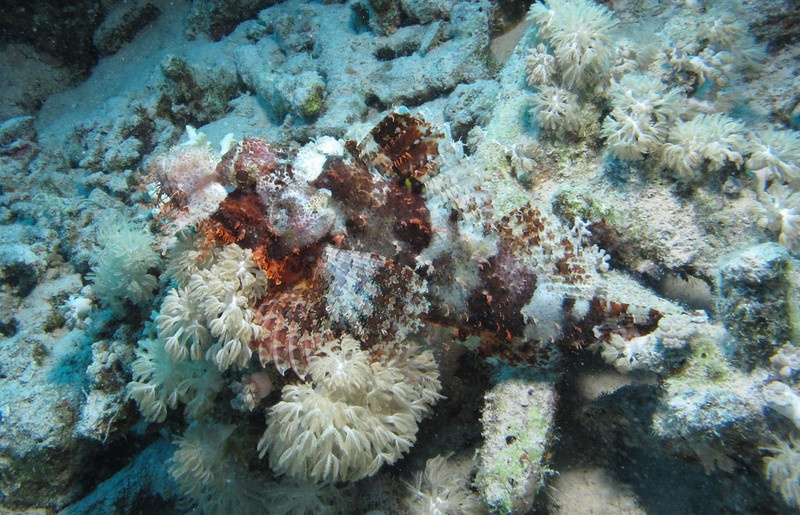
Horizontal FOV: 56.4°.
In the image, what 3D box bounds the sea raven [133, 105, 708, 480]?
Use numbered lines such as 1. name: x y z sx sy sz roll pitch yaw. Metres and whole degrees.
1. sea raven: -0.439 0.389 8.588 5.115 1.451 3.476 -1 73 0
